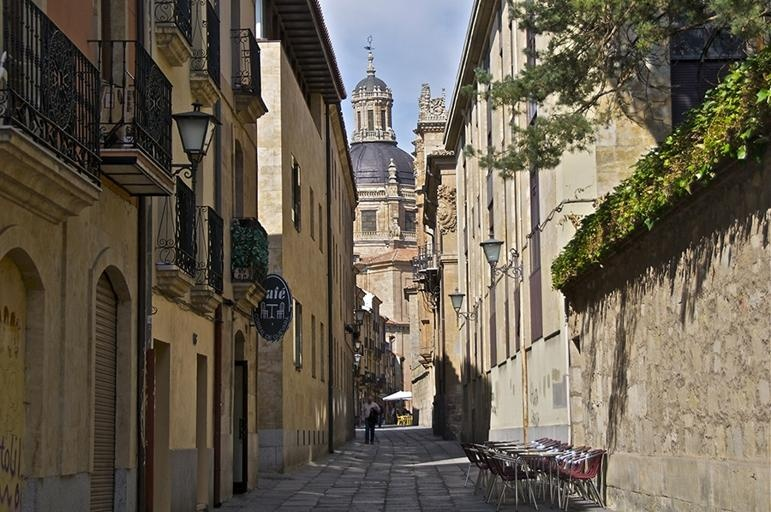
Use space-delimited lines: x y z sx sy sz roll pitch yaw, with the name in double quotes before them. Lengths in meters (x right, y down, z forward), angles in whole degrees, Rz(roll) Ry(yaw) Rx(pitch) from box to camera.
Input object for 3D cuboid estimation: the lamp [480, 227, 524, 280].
"lamp" 2.559 -0.007 28.558 0.835 1.266 0.548 -1 18 5
